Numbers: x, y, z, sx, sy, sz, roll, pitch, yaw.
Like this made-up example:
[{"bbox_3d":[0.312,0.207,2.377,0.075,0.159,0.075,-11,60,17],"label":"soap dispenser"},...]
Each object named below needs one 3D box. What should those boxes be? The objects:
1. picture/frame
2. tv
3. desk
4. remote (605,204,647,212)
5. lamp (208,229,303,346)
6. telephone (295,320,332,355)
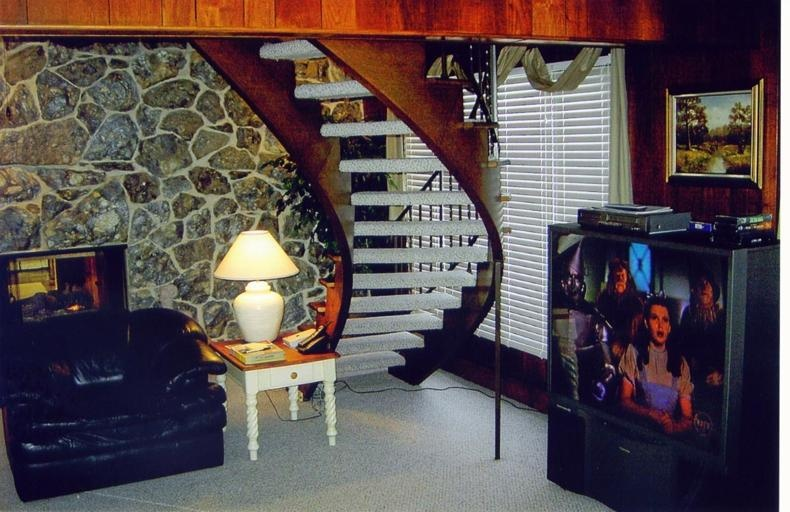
[{"bbox_3d":[2.218,-0.834,4.352,0.065,0.848,0.805,-3,5,-37],"label":"picture/frame"},{"bbox_3d":[1.789,0.574,4.108,0.555,1.437,1.587,-6,8,-40],"label":"tv"},{"bbox_3d":[-1.060,1.088,5.493,0.946,0.872,0.966,0,2,-25],"label":"desk"},{"bbox_3d":[1.586,-0.332,4.363,0.269,0.031,0.098,6,15,28],"label":"remote"},{"bbox_3d":[-1.134,0.241,5.678,0.894,1.145,0.878,0,5,12],"label":"lamp"},{"bbox_3d":[-0.643,0.702,5.430,0.295,0.121,0.161,-18,25,-38],"label":"telephone"}]
